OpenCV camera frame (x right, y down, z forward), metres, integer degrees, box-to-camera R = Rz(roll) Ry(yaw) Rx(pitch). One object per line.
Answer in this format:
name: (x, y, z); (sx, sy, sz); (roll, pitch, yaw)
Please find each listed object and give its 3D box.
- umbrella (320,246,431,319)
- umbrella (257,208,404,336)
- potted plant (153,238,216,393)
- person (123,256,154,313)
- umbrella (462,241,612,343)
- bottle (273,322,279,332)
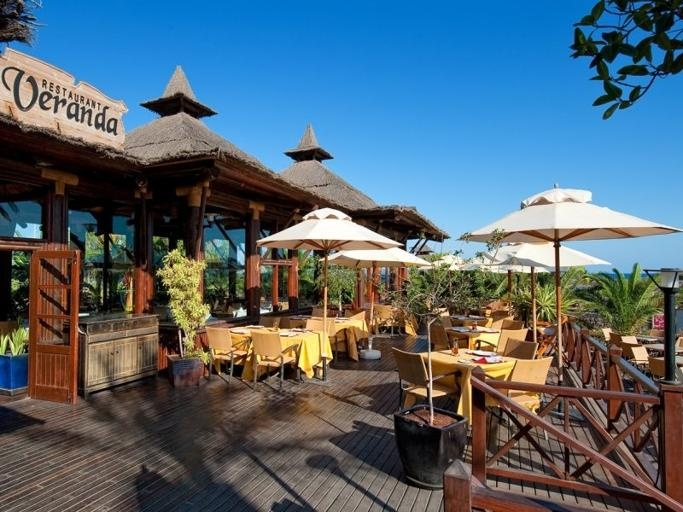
umbrella: (0.907, 0.448, 11.504); (2.191, 1.470, 2.258); (2, -4, 10)
umbrella: (-0.423, 0.137, 8.973); (2.849, 2.209, 2.629); (0, -4, -2)
potted plant: (-3.103, 1.139, 8.653); (0.846, 2.550, 1.590); (-2, 5, -21)
person: (-4.302, 0.723, 9.457); (0.368, 1.136, 0.576); (-1, -2, -25)
umbrella: (6.144, 1.179, 13.151); (3.198, 2.831, 3.301); (2, -1, 9)
bottle: (-1.432, 1.568, 9.613); (0.145, 0.220, 0.137); (-1, -6, 0)
